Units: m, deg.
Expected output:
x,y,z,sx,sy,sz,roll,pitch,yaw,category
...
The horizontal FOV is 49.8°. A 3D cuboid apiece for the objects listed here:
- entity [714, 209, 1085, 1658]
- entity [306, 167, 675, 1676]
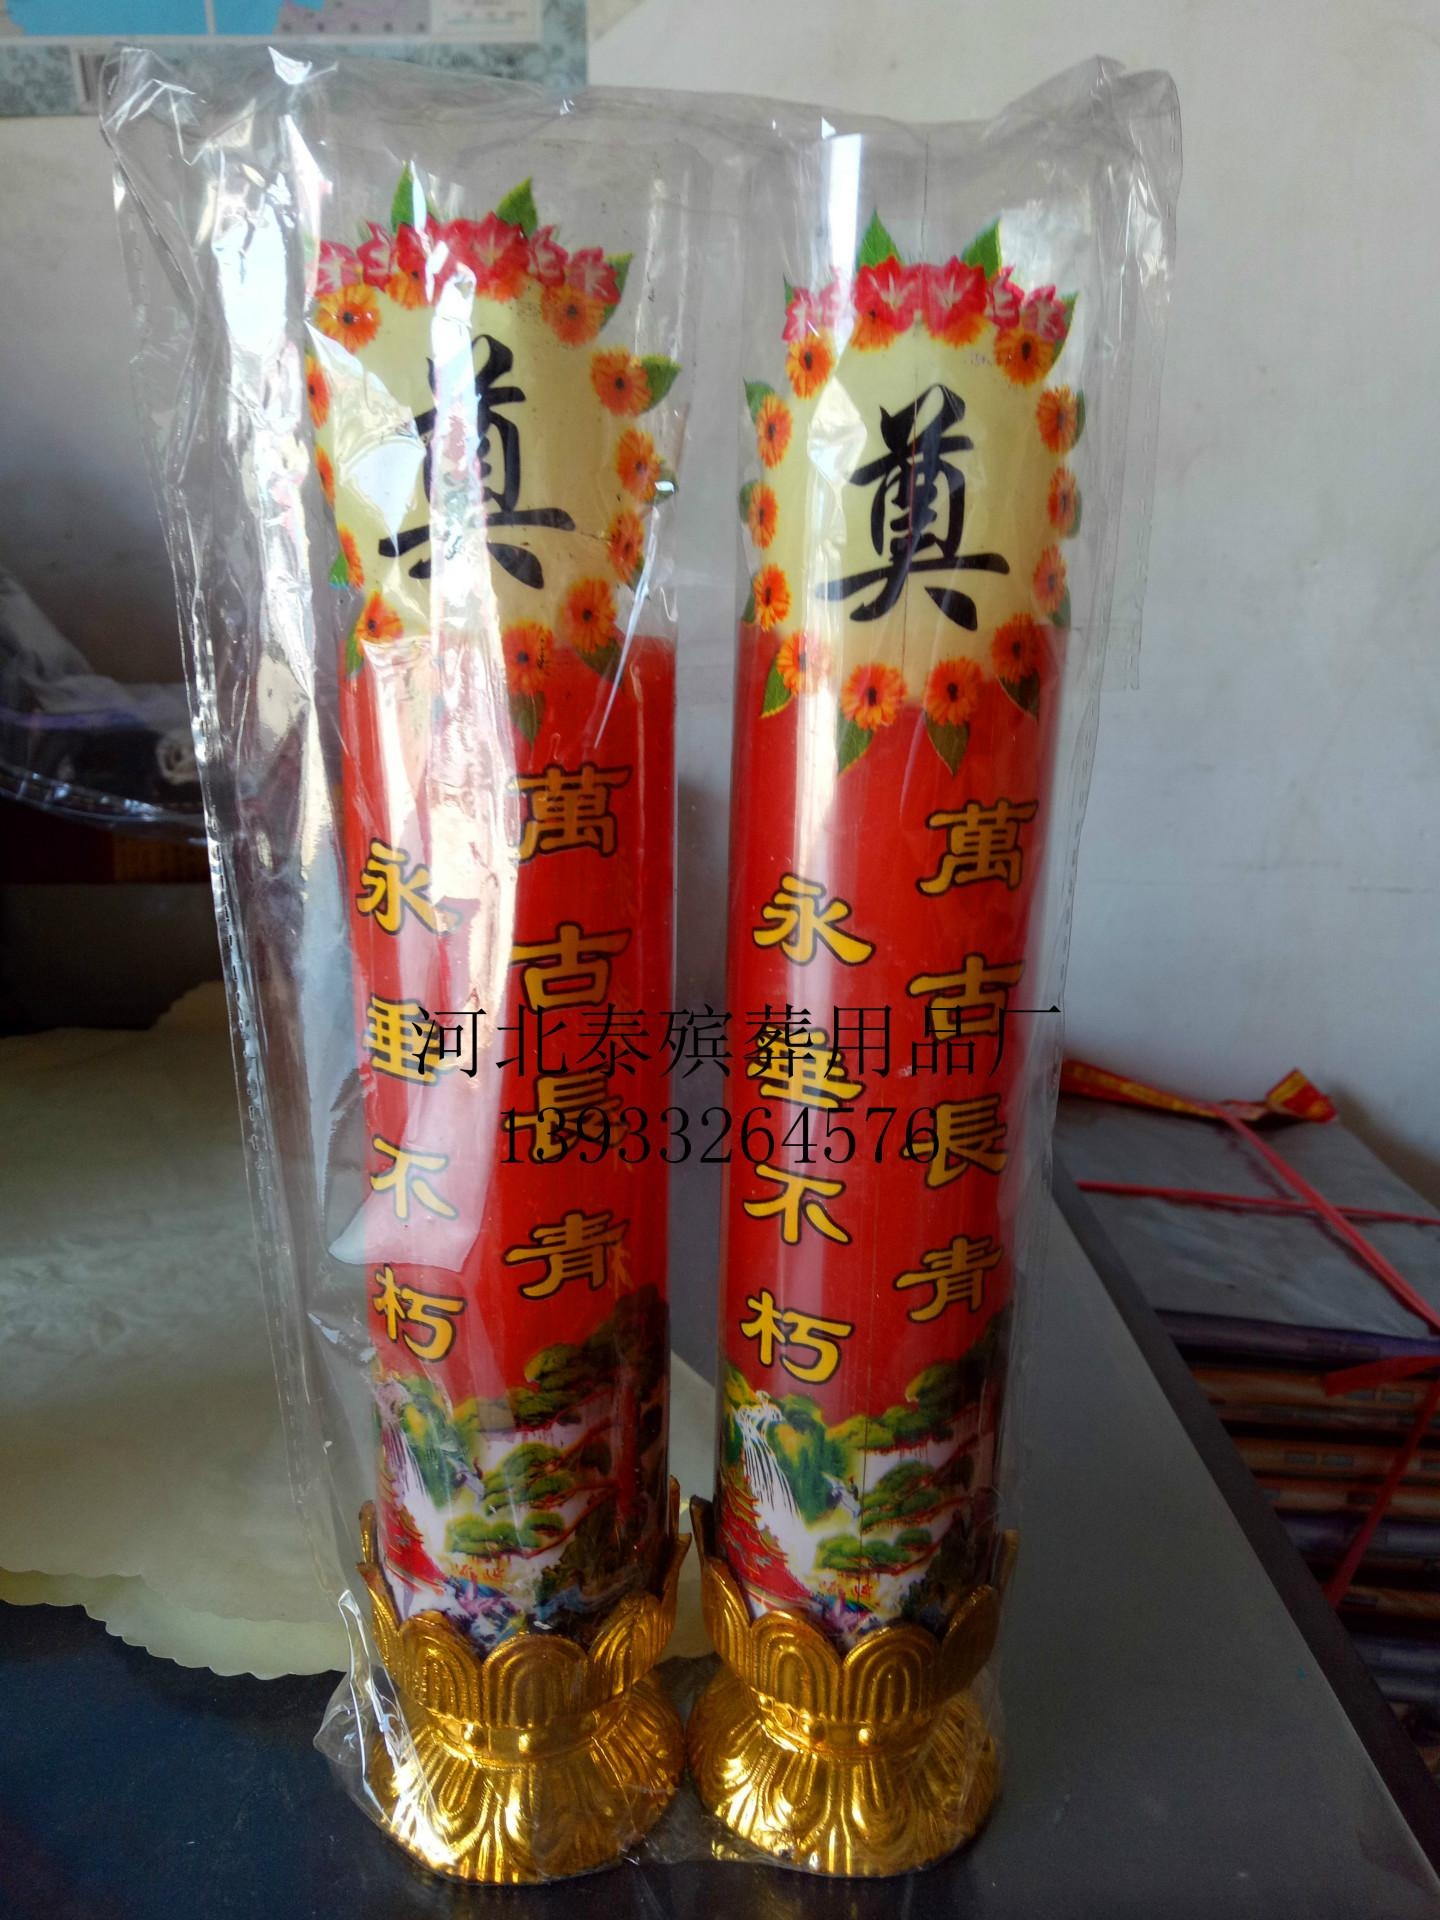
x,y,z,sx,sy,sz,roll,pitch,yaw,category
0.050,0.009,0.501,0.100,0.454,0.066,4,16,10,entity
-0.066,0.003,0.500,0.113,0.472,0.067,-4,17,-16,entity
